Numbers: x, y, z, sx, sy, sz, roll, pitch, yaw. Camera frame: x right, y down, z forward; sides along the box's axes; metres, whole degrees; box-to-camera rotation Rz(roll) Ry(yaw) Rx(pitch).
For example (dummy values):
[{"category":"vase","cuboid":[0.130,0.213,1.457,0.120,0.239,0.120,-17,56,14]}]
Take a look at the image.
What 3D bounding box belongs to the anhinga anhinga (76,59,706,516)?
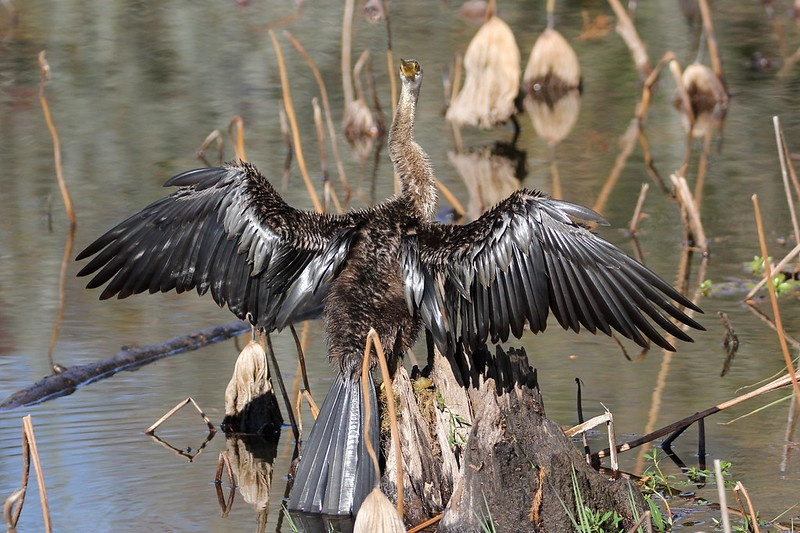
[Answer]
[{"category":"anhinga anhinga","cuboid":[-0.408,0.547,10.161,5.162,2.580,2.335,7,24,27]}]
